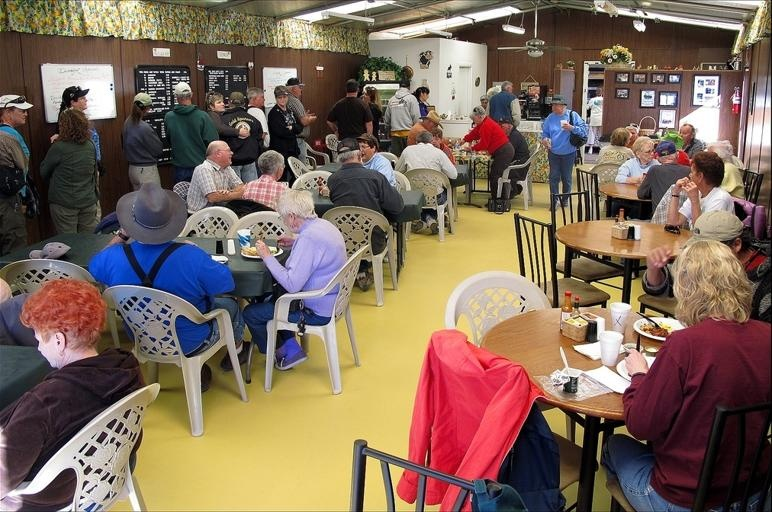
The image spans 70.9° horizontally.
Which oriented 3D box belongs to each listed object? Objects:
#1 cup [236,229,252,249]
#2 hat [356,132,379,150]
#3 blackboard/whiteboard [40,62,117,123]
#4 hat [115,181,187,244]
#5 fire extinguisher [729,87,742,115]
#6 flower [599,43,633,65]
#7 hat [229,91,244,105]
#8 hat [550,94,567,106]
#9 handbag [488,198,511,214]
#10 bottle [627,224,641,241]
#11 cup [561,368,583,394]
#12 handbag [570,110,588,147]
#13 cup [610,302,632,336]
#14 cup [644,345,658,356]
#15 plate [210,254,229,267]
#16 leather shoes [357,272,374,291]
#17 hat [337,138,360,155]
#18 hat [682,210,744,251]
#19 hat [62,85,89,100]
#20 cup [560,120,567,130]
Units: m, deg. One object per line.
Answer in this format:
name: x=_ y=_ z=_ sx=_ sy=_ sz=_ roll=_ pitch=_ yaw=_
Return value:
cup: x=-1.157 y=-0.135 z=4.505 sx=0.145 sy=0.164 sz=0.150 roll=-1 pitch=7 yaw=0
hat: x=-0.222 y=-1.416 z=6.818 sx=0.280 sy=0.255 sz=0.222 roll=-10 pitch=14 yaw=-16
blackboard/whiteboard: x=-4.128 y=-2.227 z=7.416 sx=1.087 sy=0.749 sz=0.051 roll=1 pitch=11 yaw=8
hat: x=-1.566 y=-0.345 z=3.670 sx=0.475 sy=0.183 sz=0.539 roll=-9 pitch=48 yaw=-25
fire extinguisher: x=7.187 y=-3.194 z=11.175 sx=0.207 sy=0.530 sz=0.457 roll=11 pitch=17 yaw=30
flower: x=5.382 y=-4.666 z=12.725 sx=0.572 sy=0.428 sz=0.482 roll=10 pitch=17 yaw=26
hat: x=-2.262 y=-2.346 z=8.186 sx=0.213 sy=0.236 sz=0.297 roll=0 pitch=29 yaw=-4
hat: x=3.003 y=-2.698 z=9.473 sx=0.232 sy=0.163 sz=0.491 roll=6 pitch=16 yaw=14
handbag: x=1.939 y=-0.841 z=9.298 sx=0.315 sy=0.233 sz=0.250 roll=0 pitch=6 yaw=13
bottle: x=2.153 y=-0.199 z=4.762 sx=0.126 sy=0.129 sz=0.131 roll=3 pitch=7 yaw=11
cup: x=0.931 y=0.630 z=2.751 sx=0.105 sy=0.105 sz=0.099 roll=-1 pitch=12 yaw=0
handbag: x=3.290 y=-2.193 z=9.338 sx=0.347 sy=0.643 sz=0.511 roll=-2 pitch=21 yaw=27
cup: x=1.380 y=0.384 z=3.193 sx=0.117 sy=0.140 sz=0.115 roll=6 pitch=1 yaw=0
cup: x=1.448 y=0.512 z=2.966 sx=0.057 sy=0.037 sz=0.059 roll=-1 pitch=22 yaw=0
plate: x=-1.287 y=0.021 z=4.233 sx=0.154 sy=0.039 sz=0.097 roll=12 pitch=17 yaw=20
leather shoes: x=-0.233 y=0.294 z=6.134 sx=0.151 sy=0.210 sz=0.207 roll=7 pitch=-9 yaw=11
hat: x=-0.396 y=-1.197 z=5.927 sx=0.162 sy=0.127 sz=0.235 roll=-1 pitch=16 yaw=12
hat: x=2.142 y=-0.165 z=3.553 sx=0.407 sy=0.251 sz=0.282 roll=-5 pitch=29 yaw=28
hat: x=-3.788 y=-1.983 z=6.644 sx=0.300 sy=0.161 sz=0.215 roll=-14 pitch=26 yaw=-21
cup: x=3.007 y=-2.190 z=9.143 sx=0.106 sy=0.137 sz=0.213 roll=5 pitch=15 yaw=10
